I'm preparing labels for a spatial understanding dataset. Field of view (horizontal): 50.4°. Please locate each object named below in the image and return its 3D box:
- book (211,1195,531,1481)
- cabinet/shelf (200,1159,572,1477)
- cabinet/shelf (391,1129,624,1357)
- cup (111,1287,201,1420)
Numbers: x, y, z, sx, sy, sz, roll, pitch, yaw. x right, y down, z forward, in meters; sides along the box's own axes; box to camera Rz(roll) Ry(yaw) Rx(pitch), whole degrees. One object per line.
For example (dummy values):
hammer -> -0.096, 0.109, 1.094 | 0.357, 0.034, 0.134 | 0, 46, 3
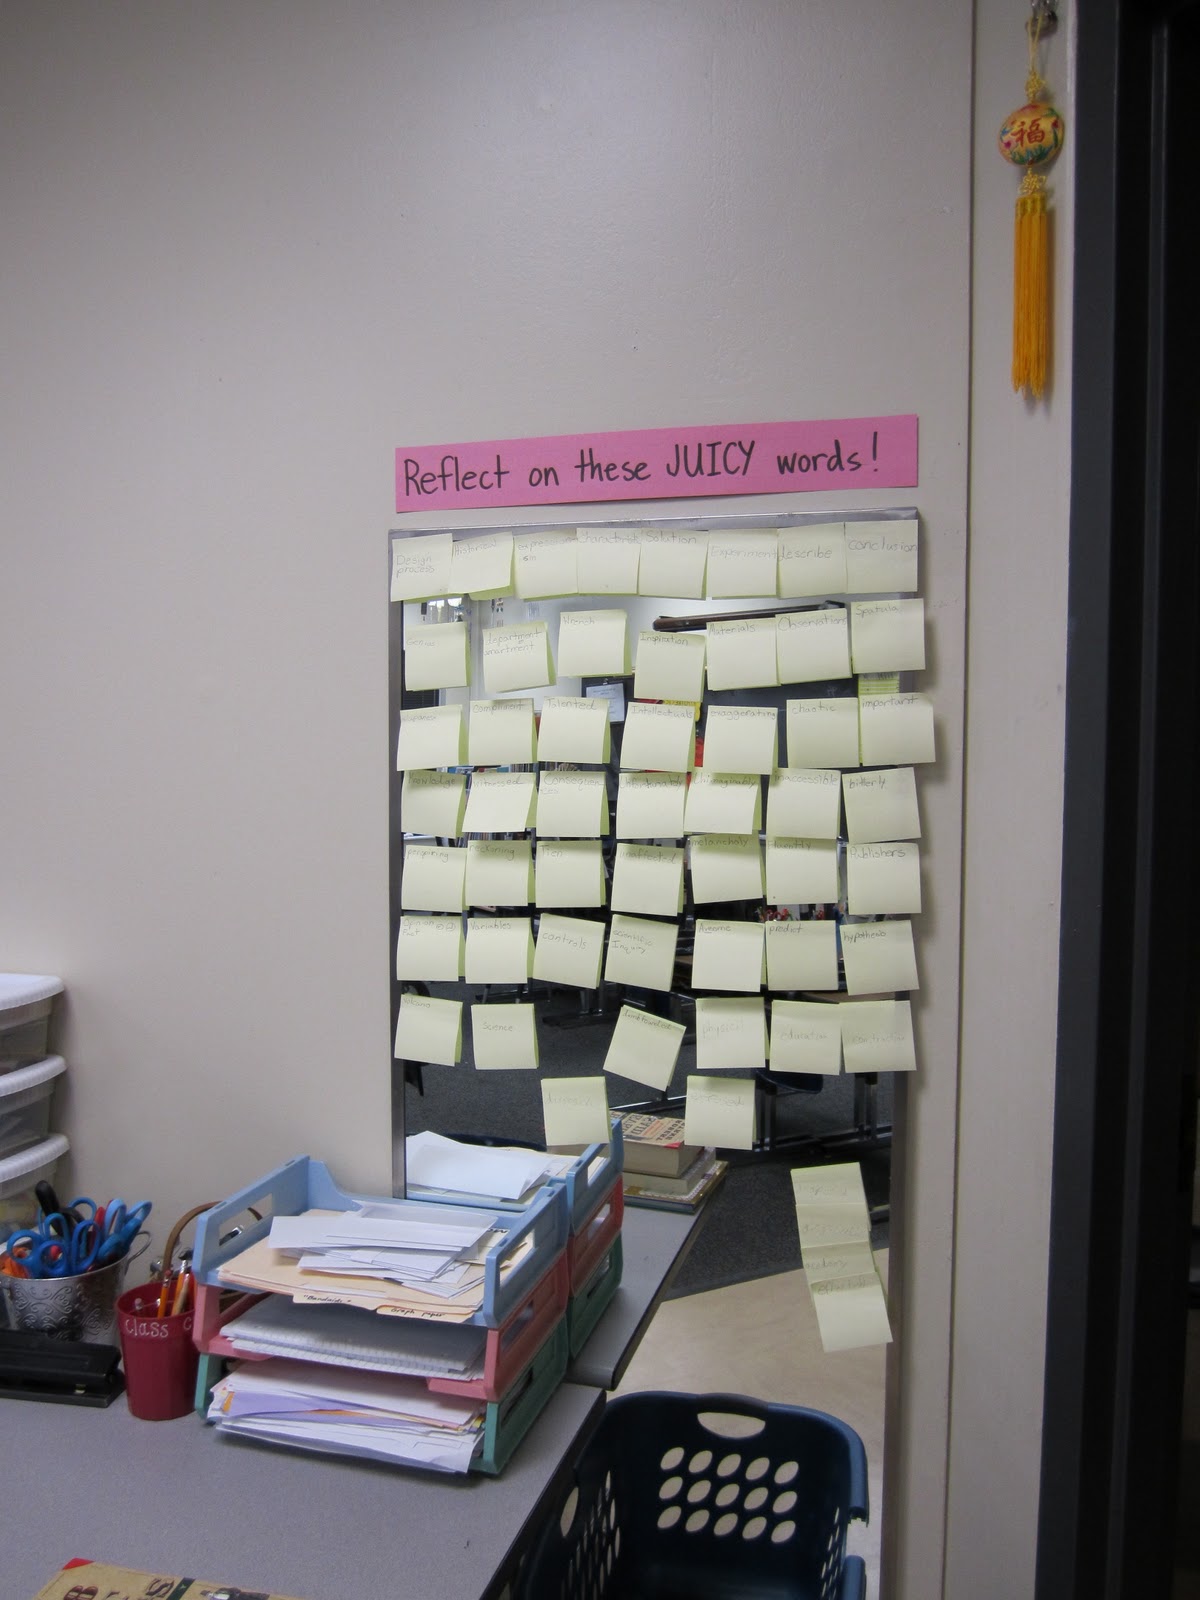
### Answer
book -> -0.220, 0.436, 1.191 | 0.200, 0.168, 0.233 | 2, 4, 16
cabinet/shelf -> -0.210, 0.495, 1.287 | 0.360, 0.225, 0.406 | 8, -6, -15
cabinet/shelf -> -0.096, 0.443, 1.373 | 0.171, 0.141, 0.193 | 0, 3, 21
cup -> -0.426, 0.534, 1.238 | 0.073, 0.101, 0.080 | -1, -3, 14
